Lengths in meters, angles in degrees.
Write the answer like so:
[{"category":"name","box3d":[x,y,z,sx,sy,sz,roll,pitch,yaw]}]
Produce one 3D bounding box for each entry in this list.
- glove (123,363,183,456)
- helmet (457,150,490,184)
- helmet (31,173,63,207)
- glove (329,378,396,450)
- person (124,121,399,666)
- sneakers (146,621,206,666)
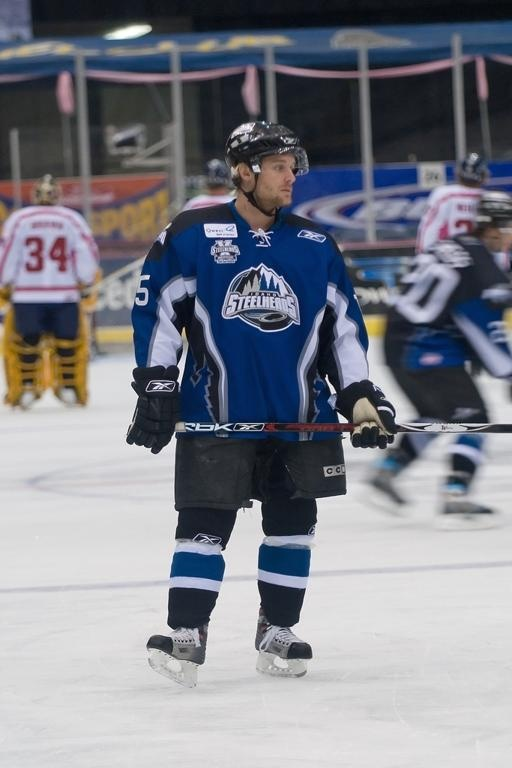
[{"category":"glove","box3d":[-0.219,0.058,2.196,0.113,0.201,0.119,-2,12,-5]},{"category":"helmet","box3d":[1.477,-1.423,6.817,0.230,0.221,0.244,1,-11,1]},{"category":"helmet","box3d":[-1.450,-1.333,7.173,0.183,0.221,0.086,2,-16,-5]},{"category":"glove","box3d":[0.250,0.063,2.239,0.125,0.145,0.067,-27,-3,29]},{"category":"person","box3d":[0.008,0.037,2.235,0.580,1.198,0.441,-4,12,-10]},{"category":"sneakers","box3d":[-0.160,0.547,2.134,0.142,0.069,0.068,-5,12,-21]}]
